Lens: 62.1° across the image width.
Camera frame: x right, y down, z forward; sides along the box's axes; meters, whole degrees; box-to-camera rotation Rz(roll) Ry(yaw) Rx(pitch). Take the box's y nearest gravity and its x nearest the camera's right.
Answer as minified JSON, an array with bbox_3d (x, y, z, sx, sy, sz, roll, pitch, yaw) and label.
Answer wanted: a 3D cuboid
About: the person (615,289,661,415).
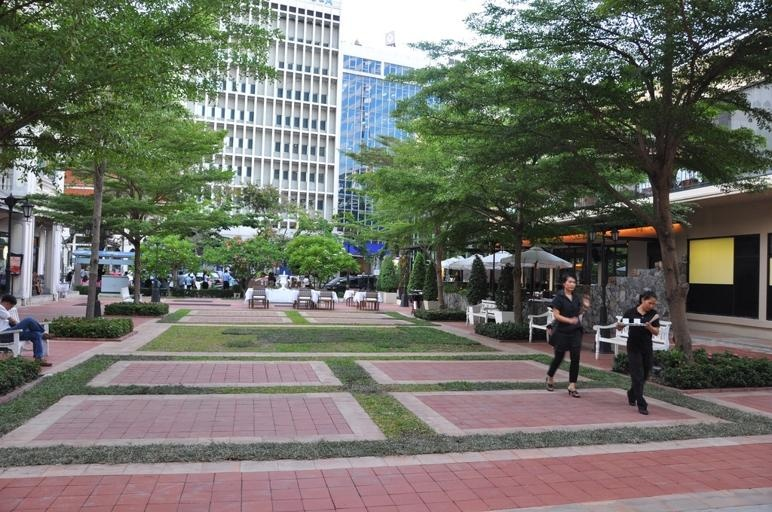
[{"bbox_3d":[4.745,1.774,12.064,0.604,2.178,0.791,3,2,20],"label":"person"}]

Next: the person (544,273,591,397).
[{"bbox_3d":[3.621,1.567,12.918,0.698,2.395,0.881,3,2,13],"label":"person"}]

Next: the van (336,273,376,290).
[{"bbox_3d":[-1.953,1.855,44.984,2.260,1.010,1.114,3,-3,-13],"label":"van"}]

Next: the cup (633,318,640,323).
[{"bbox_3d":[4.729,1.228,12.123,0.156,0.072,0.107,3,-3,6],"label":"cup"}]

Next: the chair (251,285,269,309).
[{"bbox_3d":[-6.388,2.039,32.068,0.879,1.026,2.428,2,2,-11],"label":"chair"}]

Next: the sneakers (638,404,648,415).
[{"bbox_3d":[4.705,2.805,11.768,0.186,0.144,0.274,3,2,20],"label":"sneakers"}]

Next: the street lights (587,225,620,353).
[{"bbox_3d":[7.371,0.863,21.713,0.961,2.726,0.870,18,-26,-12],"label":"street lights"}]

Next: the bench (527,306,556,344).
[{"bbox_3d":[4.682,2.102,19.610,0.866,0.851,0.843,4,15,34],"label":"bench"}]
